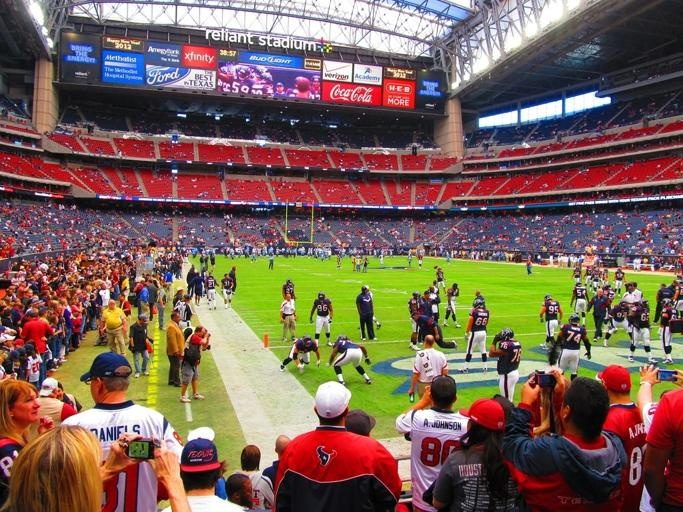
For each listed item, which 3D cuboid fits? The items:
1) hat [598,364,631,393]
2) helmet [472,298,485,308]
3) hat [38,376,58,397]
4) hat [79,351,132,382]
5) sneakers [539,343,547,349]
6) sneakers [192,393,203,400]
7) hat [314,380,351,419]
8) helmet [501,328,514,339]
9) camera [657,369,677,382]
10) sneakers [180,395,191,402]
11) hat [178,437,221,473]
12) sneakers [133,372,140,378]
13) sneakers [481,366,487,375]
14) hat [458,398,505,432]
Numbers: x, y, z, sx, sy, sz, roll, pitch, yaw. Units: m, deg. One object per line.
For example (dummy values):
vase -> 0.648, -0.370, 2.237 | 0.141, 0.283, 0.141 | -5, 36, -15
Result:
hat -> 2.828, 1.276, 5.835 | 0.279, 0.193, 0.437 | 1, 0, 24
helmet -> 3.400, 1.168, 14.024 | 0.242, 0.274, 0.291 | 4, 9, -29
hat -> -3.694, 1.656, 7.098 | 0.204, 0.219, 0.226 | 1, 1, -29
hat -> -2.447, 1.116, 5.734 | 0.531, 0.287, 0.349 | 1, -2, 18
sneakers -> 5.789, 2.615, 16.202 | 0.084, 0.173, 0.243 | 9, 16, -3
sneakers -> -2.985, 2.917, 11.726 | 0.204, 0.128, 0.267 | 1, 0, -13
hat -> -0.092, 1.368, 5.344 | 0.321, 0.312, 0.276 | 1, 1, -8
helmet -> 3.198, 1.530, 10.980 | 0.284, 0.162, 0.181 | 1, 1, -40
camera -> 3.296, 1.197, 5.645 | 0.350, 0.098, 0.116 | 1, 0, -24
sneakers -> -3.196, 2.927, 11.536 | 0.207, 0.131, 0.239 | 1, 0, -34
hat -> -1.305, 1.843, 5.157 | 0.337, 0.285, 0.232 | 1, 1, -16
sneakers -> -4.811, 2.809, 13.224 | 0.064, 0.081, 0.186 | 2, 8, -4
sneakers -> 3.538, 2.823, 13.941 | 0.097, 0.104, 0.239 | 2, 5, 13
hat -> 1.377, 1.545, 5.462 | 0.330, 0.190, 0.254 | 9, 3, 29
